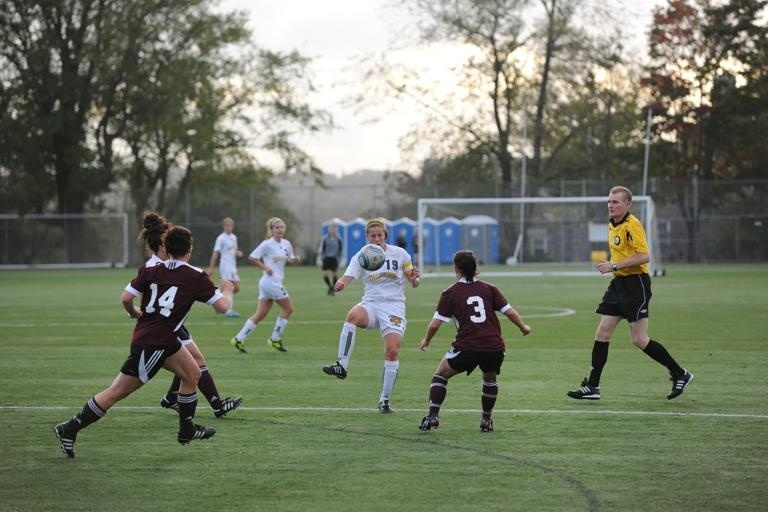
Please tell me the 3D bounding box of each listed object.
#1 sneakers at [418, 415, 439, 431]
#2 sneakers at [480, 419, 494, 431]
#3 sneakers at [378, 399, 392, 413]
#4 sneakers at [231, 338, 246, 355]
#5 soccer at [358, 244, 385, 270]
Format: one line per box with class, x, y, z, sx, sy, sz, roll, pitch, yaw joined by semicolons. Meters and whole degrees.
sneakers;0.852;3.177;23.482;0.184;0.219;0.434;1;0;-21
sneakers;1.962;3.227;23.633;0.248;0.249;0.181;-1;4;-11
sneakers;0.020;2.958;24.325;0.280;0.260;0.234;1;-2;-2
sneakers;-3.309;2.104;28.424;0.190;0.240;0.540;37;-6;23
soccer;-0.224;0.083;24.916;0.509;0.523;0.496;-6;-7;15
